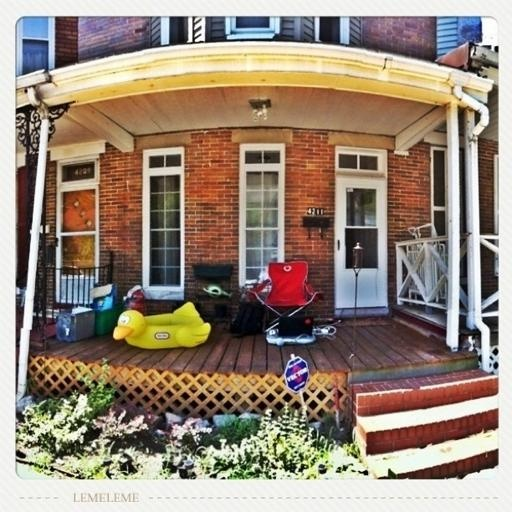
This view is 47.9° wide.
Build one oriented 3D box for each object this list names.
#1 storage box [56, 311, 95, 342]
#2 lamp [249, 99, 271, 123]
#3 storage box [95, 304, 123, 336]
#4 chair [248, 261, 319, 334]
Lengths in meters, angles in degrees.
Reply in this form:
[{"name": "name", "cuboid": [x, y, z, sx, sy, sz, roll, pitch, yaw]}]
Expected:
[{"name": "storage box", "cuboid": [-2.012, 0.732, 6.392, 0.246, 0.386, 0.458, -1, -2, 27]}, {"name": "lamp", "cuboid": [0.053, -1.635, 6.411, 0.206, 0.191, 0.198, 0, -7, 1]}, {"name": "storage box", "cuboid": [-1.702, 0.734, 6.702, 0.109, 0.327, 0.443, -1, -2, 22]}, {"name": "chair", "cuboid": [0.345, 0.430, 6.621, 0.766, 0.765, 0.792, 0, -2, 4]}]
